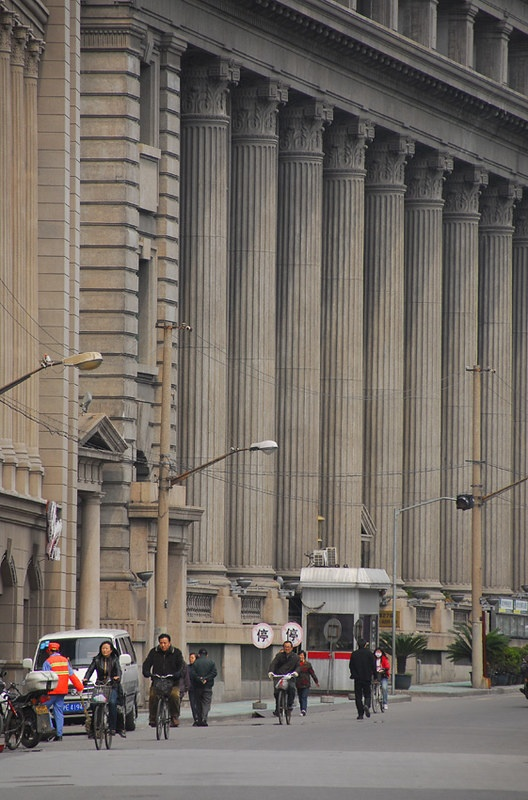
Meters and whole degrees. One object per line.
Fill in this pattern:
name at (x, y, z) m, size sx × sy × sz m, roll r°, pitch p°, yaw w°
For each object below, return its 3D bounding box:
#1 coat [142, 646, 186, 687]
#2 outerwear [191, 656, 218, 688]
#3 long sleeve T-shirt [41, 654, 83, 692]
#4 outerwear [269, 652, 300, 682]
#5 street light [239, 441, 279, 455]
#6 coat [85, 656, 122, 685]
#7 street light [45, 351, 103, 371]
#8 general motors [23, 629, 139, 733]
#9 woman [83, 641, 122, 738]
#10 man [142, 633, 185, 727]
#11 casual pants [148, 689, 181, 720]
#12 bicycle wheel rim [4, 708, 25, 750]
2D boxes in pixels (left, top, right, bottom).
coat at (-1.736, 4.555, 47.330) m, size 0.573 × 1.050 × 0.620 m, roll 0°, pitch -14°, yaw 2°
outerwear at (-1.152, 5.054, 50.894) m, size 0.410 × 0.635 × 0.744 m, roll 3°, pitch -9°, yaw -25°
long sleeve T-shirt at (-3.298, 4.272, 43.066) m, size 0.477 × 0.794 × 0.235 m, roll 7°, pitch -23°, yaw -45°
outerwear at (0.428, 5.180, 53.562) m, size 0.570 × 0.859 × 0.419 m, roll 5°, pitch -27°, yaw -4°
street light at (-0.151, 1.022, 65.291) m, size 0.196 × 0.294 × 0.773 m, roll -9°, pitch -4°, yaw -37°
coat at (-2.600, 4.248, 44.186) m, size 0.527 × 0.722 × 0.371 m, roll 0°, pitch -12°, yaw 0°
street light at (-3.669, -0.875, 51.625) m, size 0.602 × 0.338 × 0.487 m, roll -3°, pitch -3°, yaw 4°
general motors at (-2.907, 4.822, 47.968) m, size 1.156 × 1.529 × 2.404 m, roll -1°, pitch -10°, yaw 4°
woman at (-2.621, 4.639, 44.213) m, size 0.511 × 1.491 × 0.635 m, roll 3°, pitch 4°, yaw 44°
man at (-1.745, 4.840, 47.313) m, size 0.610 × 1.724 × 0.846 m, roll -2°, pitch 6°, yaw -24°
casual pants at (-1.766, 5.362, 48.135) m, size 0.354 × 0.600 × 0.866 m, roll -2°, pitch -13°, yaw 6°
bicycle wheel rim at (-3.995, 5.187, 42.807) m, size 0.435 × 0.633 × 0.459 m, roll -2°, pitch -4°, yaw 31°
